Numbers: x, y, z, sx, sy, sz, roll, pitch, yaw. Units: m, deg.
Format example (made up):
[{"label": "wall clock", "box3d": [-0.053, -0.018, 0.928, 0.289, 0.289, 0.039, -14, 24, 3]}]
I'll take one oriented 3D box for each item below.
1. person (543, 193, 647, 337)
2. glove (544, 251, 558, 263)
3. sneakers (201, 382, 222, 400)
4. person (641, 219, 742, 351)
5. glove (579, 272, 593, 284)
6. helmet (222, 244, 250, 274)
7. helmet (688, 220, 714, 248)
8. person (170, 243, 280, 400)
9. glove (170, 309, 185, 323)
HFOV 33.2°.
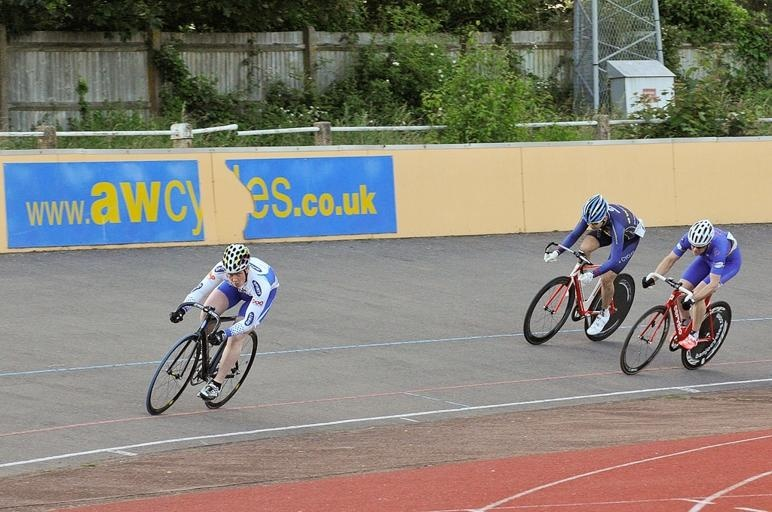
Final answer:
[{"label": "person", "box3d": [3.487, 0.131, 21.048, 1.139, 2.275, 1.285, 3, 10, 21]}, {"label": "glove", "box3d": [2.763, -0.003, 20.947, 0.260, 0.098, 0.181, -26, 25, -22]}, {"label": "sneakers", "box3d": [-2.471, 1.890, 18.195, 0.191, 0.168, 0.372, -10, 14, 43]}, {"label": "person", "box3d": [4.787, 0.432, 19.994, 0.998, 1.993, 1.466, 8, 12, 43]}, {"label": "glove", "box3d": [3.191, 0.325, 20.462, 0.212, 0.159, 0.069, -36, 20, 42]}, {"label": "helmet", "box3d": [-2.087, 0.042, 18.211, 0.399, 0.394, 0.318, -4, 9, -19]}, {"label": "helmet", "box3d": [4.841, -0.328, 19.691, 0.371, 0.430, 0.169, 20, -17, 17]}, {"label": "person", "box3d": [-2.233, 0.927, 18.451, 0.898, 2.209, 1.264, 6, 11, 34]}, {"label": "glove", "box3d": [-2.913, 0.836, 18.144, 0.253, 0.114, 0.186, -41, 18, -9]}]
